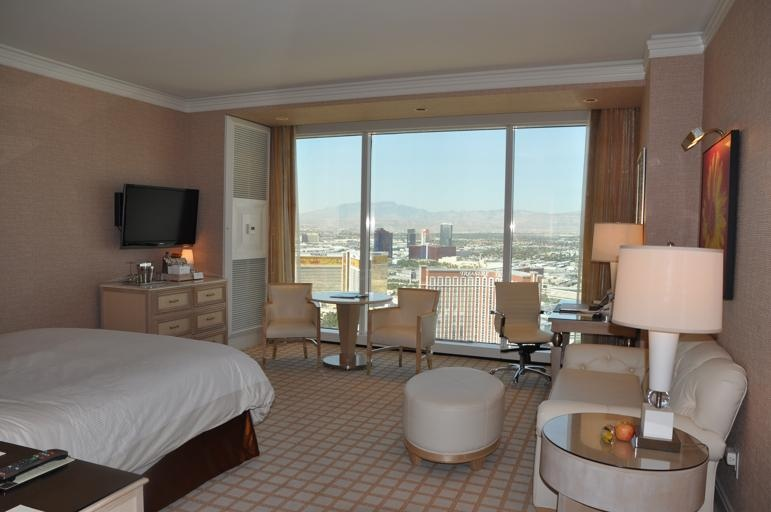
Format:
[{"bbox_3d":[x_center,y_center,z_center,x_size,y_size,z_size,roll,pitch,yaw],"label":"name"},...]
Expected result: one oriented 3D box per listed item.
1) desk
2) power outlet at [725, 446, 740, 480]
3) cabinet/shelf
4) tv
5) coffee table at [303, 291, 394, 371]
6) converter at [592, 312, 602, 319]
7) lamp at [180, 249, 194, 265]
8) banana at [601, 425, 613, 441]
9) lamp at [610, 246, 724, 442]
[{"bbox_3d":[2.319,0.872,5.333,1.177,0.692,0.801,0,-1,-1],"label":"desk"},{"bbox_3d":[2.486,1.467,3.409,0.085,0.196,0.178,6,9,29],"label":"power outlet"},{"bbox_3d":[-2.872,0.825,6.541,0.680,0.685,1.148,0,0,30],"label":"cabinet/shelf"},{"bbox_3d":[-3.133,-0.552,6.635,0.128,0.853,1.199,5,9,25],"label":"tv"},{"bbox_3d":[-0.473,1.027,6.832,1.230,0.730,1.115,2,7,3],"label":"coffee table"},{"bbox_3d":[2.403,0.667,5.381,0.046,0.047,0.127,0,7,16],"label":"converter"},{"bbox_3d":[-2.985,0.002,7.175,0.260,0.228,0.231,-2,8,-19],"label":"lamp"},{"bbox_3d":[1.403,1.123,3.028,0.025,0.076,0.079,12,1,-27],"label":"banana"},{"bbox_3d":[1.732,0.544,2.960,0.597,1.217,0.318,5,9,24],"label":"lamp"}]
